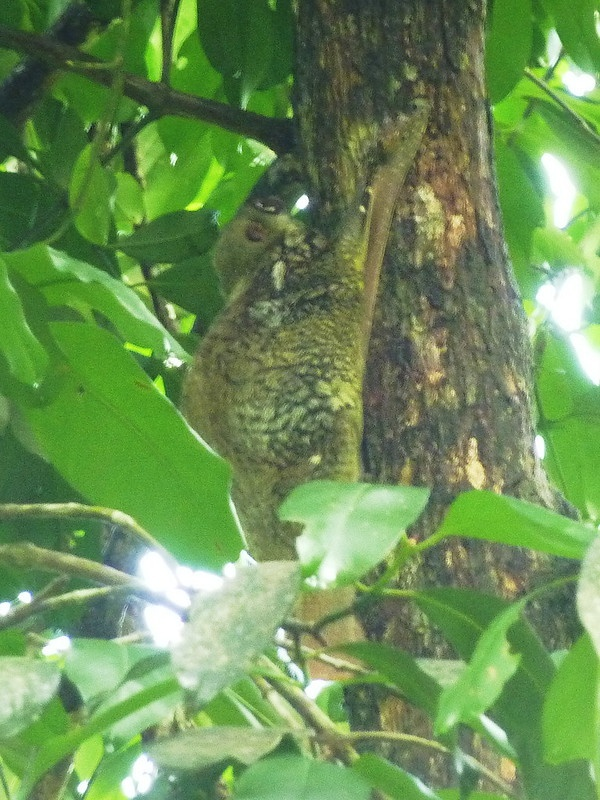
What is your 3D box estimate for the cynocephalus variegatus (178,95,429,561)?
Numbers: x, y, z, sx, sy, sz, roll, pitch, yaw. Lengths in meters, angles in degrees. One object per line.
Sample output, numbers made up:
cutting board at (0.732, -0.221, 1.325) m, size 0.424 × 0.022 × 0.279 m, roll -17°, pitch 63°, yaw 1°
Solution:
cynocephalus variegatus at (0.030, -0.050, 0.719) m, size 0.100 × 0.301 × 0.088 m, roll 2°, pitch -20°, yaw 39°
